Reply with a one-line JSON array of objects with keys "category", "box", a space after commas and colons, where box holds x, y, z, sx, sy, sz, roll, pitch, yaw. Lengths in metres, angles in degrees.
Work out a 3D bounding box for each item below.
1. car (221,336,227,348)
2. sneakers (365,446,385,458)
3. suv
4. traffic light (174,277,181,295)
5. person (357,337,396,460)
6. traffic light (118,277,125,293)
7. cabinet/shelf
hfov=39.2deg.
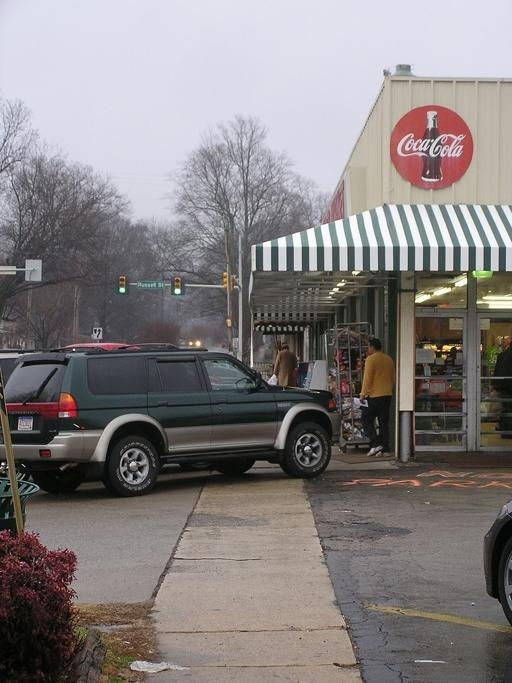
[{"category": "car", "box": [-5.760, -0.186, 127.239, 1.409, 1.482, 2.681, -5, -13, 4]}, {"category": "sneakers", "box": [2.230, 2.081, 13.488, 0.141, 0.177, 0.385, -11, -22, -42]}, {"category": "suv", "box": [-1.334, 0.974, 10.408, 4.387, 1.876, 1.981, -2, -1, -35]}, {"category": "traffic light", "box": [-4.018, -2.875, 36.418, 0.408, 0.815, 0.935, -1, -4, -7]}, {"category": "person", "box": [2.276, 1.043, 13.528, 0.618, 2.244, 0.930, -2, -4, 8]}, {"category": "traffic light", "box": [-6.633, -2.848, 35.491, 0.412, 0.807, 1.102, 0, -4, -13]}, {"category": "cabinet/shelf", "box": [1.700, 0.963, 15.259, 0.911, 2.550, 1.062, -2, -4, -2]}]
